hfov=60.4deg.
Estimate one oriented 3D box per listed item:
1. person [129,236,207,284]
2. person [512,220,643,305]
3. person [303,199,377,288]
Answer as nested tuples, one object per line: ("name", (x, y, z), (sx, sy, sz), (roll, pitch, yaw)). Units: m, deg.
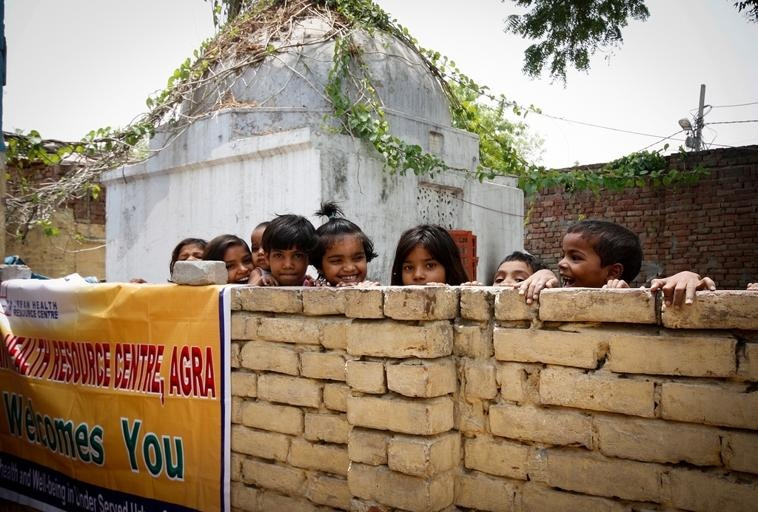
("person", (-2.093, 0.005, 6.617), (0.775, 0.294, 0.558), (-14, -11, 21))
("person", (1.396, 0.030, 4.621), (0.988, 0.495, 0.491), (-5, 3, -10))
("person", (-0.317, -0.013, 5.310), (0.600, 0.852, 0.469), (-7, 15, -10))
